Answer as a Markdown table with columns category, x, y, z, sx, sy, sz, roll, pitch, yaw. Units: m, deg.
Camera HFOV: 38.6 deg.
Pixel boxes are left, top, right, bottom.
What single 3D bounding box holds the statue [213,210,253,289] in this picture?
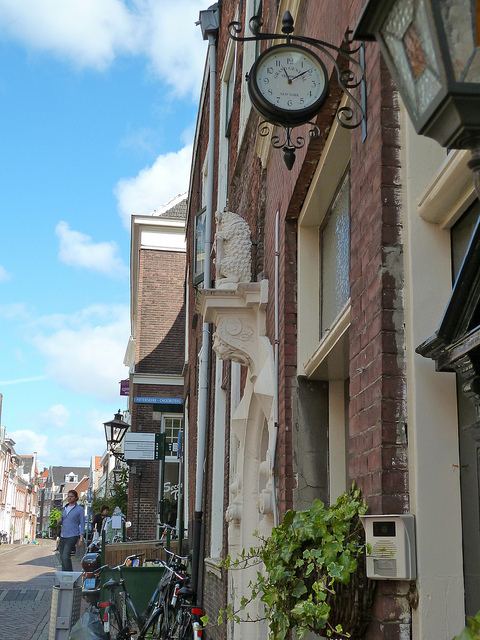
| category | x | y | z | sx | sy | sz | roll | pitch | yaw |
| --- | --- | --- | --- | --- | --- | --- | --- | --- | --- |
| statue | -0.073 | -0.626 | 6.130 | 0.256 | 0.848 | 0.209 | -5 | -1 | -26 |

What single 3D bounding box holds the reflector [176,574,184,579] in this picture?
| category | x | y | z | sx | sy | sz | roll | pitch | yaw |
| --- | --- | --- | --- | --- | --- | --- | --- | --- | --- |
| reflector | -0.580 | 2.477 | 6.640 | 0.052 | 0.015 | 0.050 | -10 | -12 | 43 |

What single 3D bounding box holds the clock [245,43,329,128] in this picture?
| category | x | y | z | sx | sy | sz | roll | pitch | yaw |
| --- | --- | --- | --- | --- | --- | --- | --- | --- | --- |
| clock | 0.206 | -1.037 | 2.957 | 0.307 | 0.381 | 0.084 | -30 | -7 | -3 |

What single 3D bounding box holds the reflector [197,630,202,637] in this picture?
| category | x | y | z | sx | sy | sz | roll | pitch | yaw |
| --- | --- | --- | --- | --- | --- | --- | --- | --- | --- |
| reflector | -0.302 | 2.317 | 5.089 | 0.008 | 0.041 | 0.024 | -4 | -11 | 28 |

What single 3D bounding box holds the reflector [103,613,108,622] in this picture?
| category | x | y | z | sx | sy | sz | roll | pitch | yaw |
| --- | --- | --- | --- | --- | --- | --- | --- | --- | --- |
| reflector | -1.285 | 2.835 | 6.561 | 0.042 | 0.075 | 0.111 | 5 | -21 | -12 |

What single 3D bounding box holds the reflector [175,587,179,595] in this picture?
| category | x | y | z | sx | sy | sz | roll | pitch | yaw |
| --- | --- | --- | --- | --- | --- | --- | --- | --- | --- |
| reflector | -0.572 | 2.452 | 6.233 | 0.029 | 0.059 | 0.174 | 3 | -22 | -7 |

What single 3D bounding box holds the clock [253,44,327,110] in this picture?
| category | x | y | z | sx | sy | sz | roll | pitch | yaw |
| --- | --- | --- | --- | --- | --- | --- | --- | --- | --- |
| clock | 0.214 | -1.067 | 3.013 | 0.253 | 0.359 | 0.306 | 3 | -19 | -6 |

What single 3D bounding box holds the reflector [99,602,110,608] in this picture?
| category | x | y | z | sx | sy | sz | roll | pitch | yaw |
| --- | --- | --- | --- | --- | --- | --- | --- | --- | --- |
| reflector | -1.337 | 2.808 | 6.793 | 0.042 | 0.042 | 0.142 | -2 | -10 | -24 |

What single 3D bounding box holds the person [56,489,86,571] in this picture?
| category | x | y | z | sx | sy | sz | roll | pitch | yaw |
| --- | --- | --- | --- | --- | --- | --- | --- | --- | --- |
| person | -2.872 | 3.554 | 11.706 | 0.404 | 1.370 | 1.466 | 5 | -20 | -13 |
